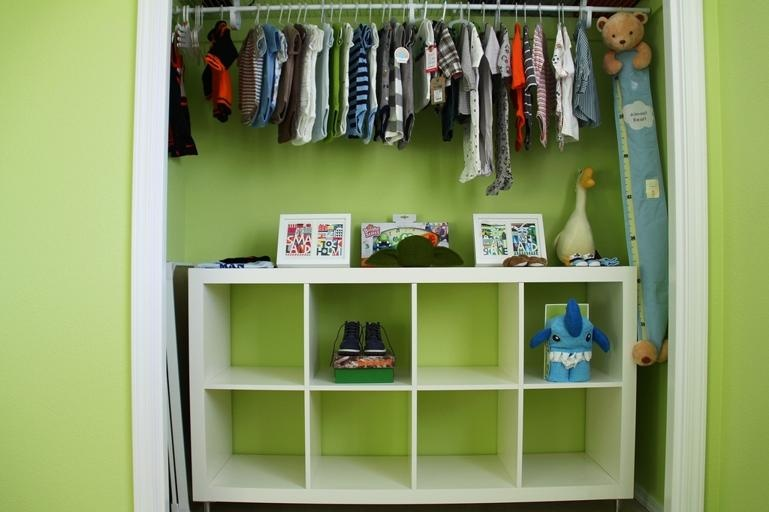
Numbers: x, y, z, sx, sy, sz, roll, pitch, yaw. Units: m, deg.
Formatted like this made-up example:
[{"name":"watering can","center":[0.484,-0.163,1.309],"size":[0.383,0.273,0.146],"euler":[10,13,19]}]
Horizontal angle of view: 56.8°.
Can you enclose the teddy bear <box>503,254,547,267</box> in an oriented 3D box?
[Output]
[{"name":"teddy bear","center":[0.727,0.024,3.703],"size":[0.215,0.059,0.132],"euler":[-2,-4,16]}]

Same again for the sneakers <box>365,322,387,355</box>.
[{"name":"sneakers","center":[-0.055,0.433,3.719],"size":[0.111,0.155,0.332],"euler":[0,-5,-3]}]

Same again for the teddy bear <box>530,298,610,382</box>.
[{"name":"teddy bear","center":[0.972,0.446,3.665],"size":[0.390,0.397,0.217],"euler":[0,-2,2]}]

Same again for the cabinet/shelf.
[{"name":"cabinet/shelf","center":[0.137,0.688,3.732],"size":[2.276,1.241,0.479],"euler":[-1,-5,0]}]

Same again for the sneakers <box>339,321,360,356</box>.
[{"name":"sneakers","center":[-0.189,0.429,3.739],"size":[0.115,0.170,0.264],"euler":[0,-4,-3]}]

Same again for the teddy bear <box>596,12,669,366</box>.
[{"name":"teddy bear","center":[1.291,-0.366,3.683],"size":[0.330,1.848,0.209],"euler":[-1,-5,4]}]

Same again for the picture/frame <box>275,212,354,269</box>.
[{"name":"picture/frame","center":[-0.383,-0.084,3.763],"size":[0.383,0.282,0.131],"euler":[0,-5,-9]}]
